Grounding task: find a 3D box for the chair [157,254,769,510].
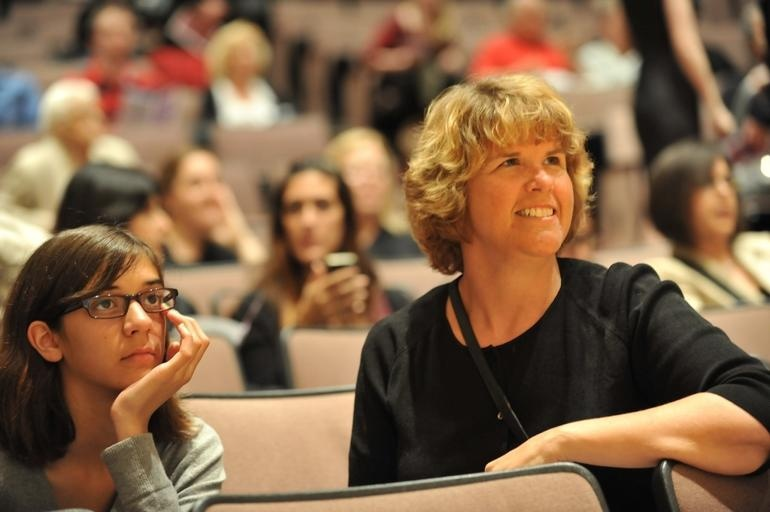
[{"bbox_3d":[0.268,0.372,2.655,1.566,0.644,0.382,-1,14,10],"label":"chair"}]
